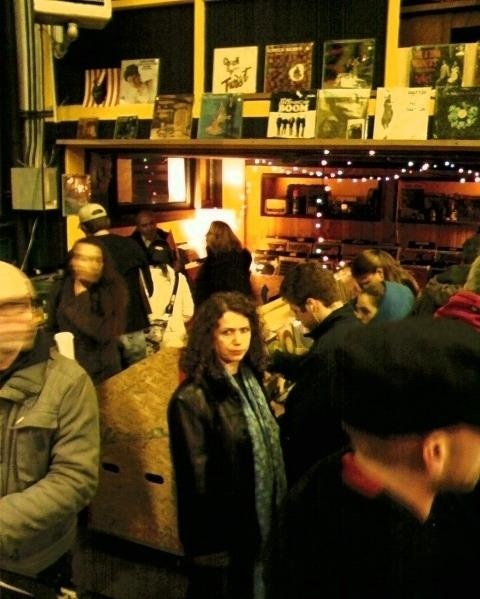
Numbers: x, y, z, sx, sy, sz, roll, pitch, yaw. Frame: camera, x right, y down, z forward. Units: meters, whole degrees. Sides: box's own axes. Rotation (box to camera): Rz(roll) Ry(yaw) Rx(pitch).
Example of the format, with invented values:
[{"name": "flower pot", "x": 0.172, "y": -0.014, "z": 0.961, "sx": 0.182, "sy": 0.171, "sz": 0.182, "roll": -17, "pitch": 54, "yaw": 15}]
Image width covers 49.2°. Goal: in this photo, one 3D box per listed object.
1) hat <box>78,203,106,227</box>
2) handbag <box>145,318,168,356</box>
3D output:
[{"name": "hat", "x": -0.795, "y": -0.456, "z": 2.823, "sx": 0.105, "sy": 0.079, "sz": 0.134, "roll": -14, "pitch": 17, "yaw": -21}, {"name": "handbag", "x": -0.383, "y": 0.166, "z": 2.416, "sx": 0.134, "sy": 0.044, "sz": 0.137, "roll": -5, "pitch": 47, "yaw": 13}]
